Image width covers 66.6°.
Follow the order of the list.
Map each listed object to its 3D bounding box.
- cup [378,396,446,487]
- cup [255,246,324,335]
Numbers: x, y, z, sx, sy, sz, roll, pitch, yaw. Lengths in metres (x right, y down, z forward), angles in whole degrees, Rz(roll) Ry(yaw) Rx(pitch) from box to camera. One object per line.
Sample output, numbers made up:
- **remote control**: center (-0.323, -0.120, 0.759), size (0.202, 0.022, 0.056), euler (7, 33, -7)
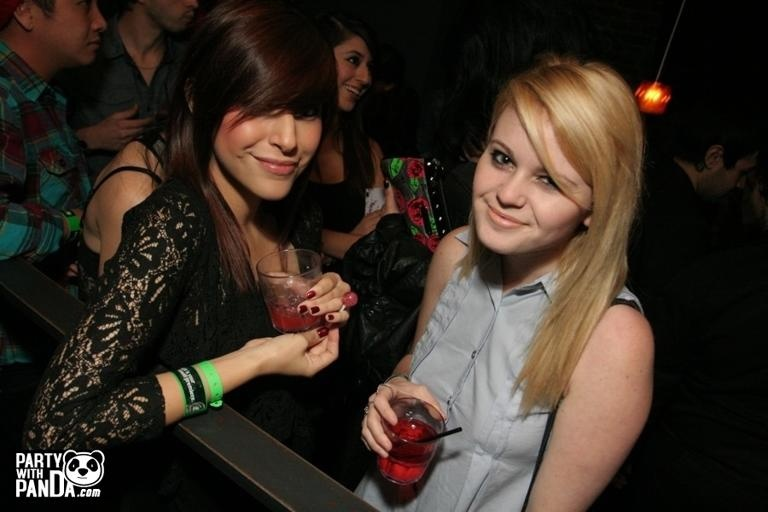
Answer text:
- **cup**: center (0.111, 0.728, 2.320), size (0.239, 0.282, 0.257), euler (25, 12, -5)
- **cup**: center (-0.356, 0.129, 2.663), size (0.318, 0.386, 0.347), euler (-2, 17, 1)
